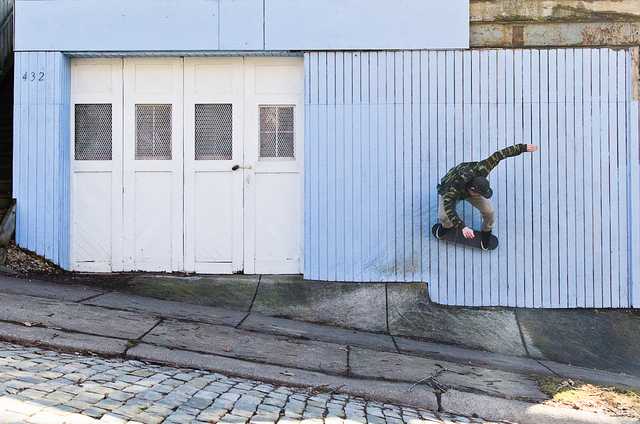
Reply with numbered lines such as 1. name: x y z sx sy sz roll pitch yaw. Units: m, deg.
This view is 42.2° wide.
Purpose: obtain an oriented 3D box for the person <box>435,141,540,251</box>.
1. person: 2.660 -0.236 13.992 1.380 1.795 0.742 0 4 3
